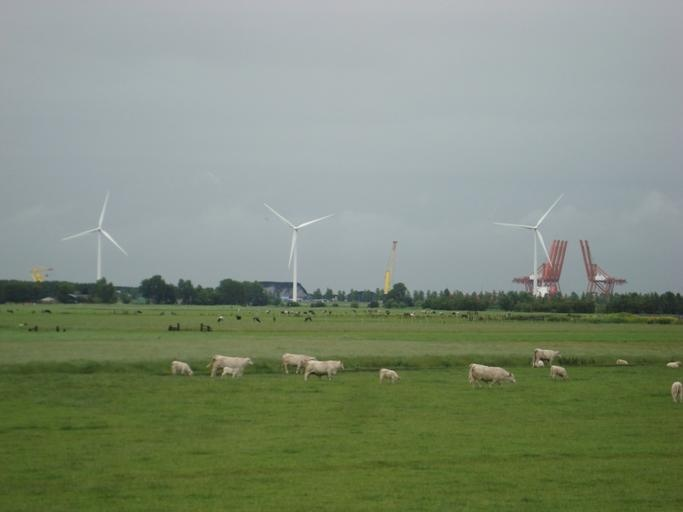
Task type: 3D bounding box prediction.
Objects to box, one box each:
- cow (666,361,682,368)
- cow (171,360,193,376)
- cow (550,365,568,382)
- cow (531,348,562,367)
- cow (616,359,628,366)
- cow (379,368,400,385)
[{"bbox_3d":[30.737,10.276,122.848,1.233,0.633,0.592,3,-1,-34],"label":"cow"},{"bbox_3d":[-13.826,9.965,115.461,2.142,1.267,1.605,1,-7,12],"label":"cow"},{"bbox_3d":[19.058,10.447,116.615,1.483,1.258,2.494,1,-7,8],"label":"cow"},{"bbox_3d":[18.866,9.721,123.815,2.877,1.651,1.145,7,-9,-34],"label":"cow"},{"bbox_3d":[26.404,10.196,124.950,0.430,0.890,1.634,4,3,44],"label":"cow"},{"bbox_3d":[4.105,10.473,114.015,1.661,1.224,1.960,2,-7,1],"label":"cow"}]
